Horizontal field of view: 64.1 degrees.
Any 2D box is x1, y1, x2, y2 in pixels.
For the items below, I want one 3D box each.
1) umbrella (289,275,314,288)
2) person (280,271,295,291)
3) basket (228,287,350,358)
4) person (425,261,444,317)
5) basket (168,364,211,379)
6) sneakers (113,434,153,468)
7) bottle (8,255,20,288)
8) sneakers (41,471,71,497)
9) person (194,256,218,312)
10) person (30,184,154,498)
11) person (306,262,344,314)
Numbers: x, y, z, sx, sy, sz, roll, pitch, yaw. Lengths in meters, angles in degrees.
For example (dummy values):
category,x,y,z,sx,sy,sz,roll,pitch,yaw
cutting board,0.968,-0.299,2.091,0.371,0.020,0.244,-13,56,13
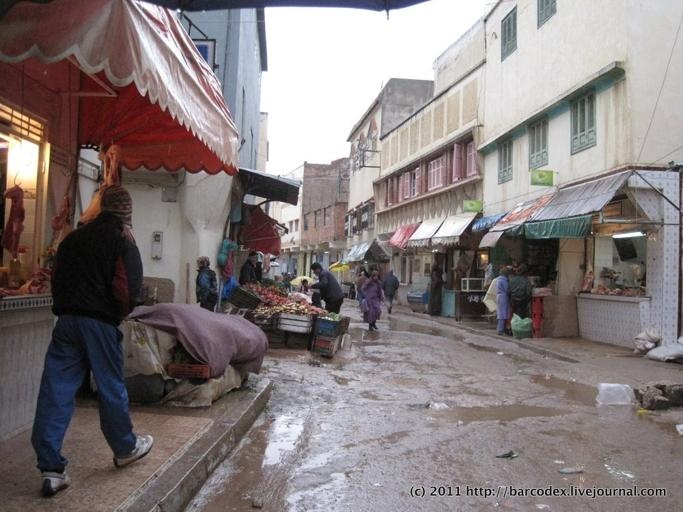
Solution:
category,x,y,z,sx,sy,sz,roll,pitch,yaw
umbrella,-2.221,1.376,30.419,1.342,0.500,1.403,-1,0,16
person,-3.622,1.664,37.076,1.042,1.805,1.125,0,-10,-5
basket,-1.064,1.415,11.963,1.857,0.571,1.795,24,0,-23
person,3.739,1.358,21.861,0.544,2.007,0.923,0,-4,26
basket,-1.882,1.422,6.746,0.512,0.183,0.081,2,-3,-2
sneakers,-1.913,1.803,5.124,0.140,0.185,0.411,10,20,19
bottle,-3.856,0.183,6.470,0.142,0.372,0.047,2,-3,3
sneakers,-2.363,1.897,4.591,0.106,0.142,0.314,0,-2,7
person,-2.913,0.584,11.851,0.442,1.184,0.785,3,-3,-15
person,-2.217,0.664,4.912,0.878,2.697,0.423,4,-4,-31
person,-0.357,1.114,14.326,0.863,1.963,0.763,-6,3,-20
